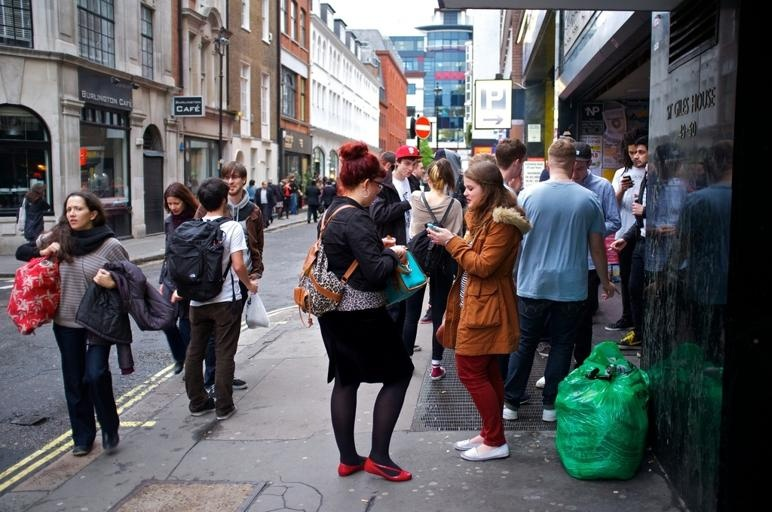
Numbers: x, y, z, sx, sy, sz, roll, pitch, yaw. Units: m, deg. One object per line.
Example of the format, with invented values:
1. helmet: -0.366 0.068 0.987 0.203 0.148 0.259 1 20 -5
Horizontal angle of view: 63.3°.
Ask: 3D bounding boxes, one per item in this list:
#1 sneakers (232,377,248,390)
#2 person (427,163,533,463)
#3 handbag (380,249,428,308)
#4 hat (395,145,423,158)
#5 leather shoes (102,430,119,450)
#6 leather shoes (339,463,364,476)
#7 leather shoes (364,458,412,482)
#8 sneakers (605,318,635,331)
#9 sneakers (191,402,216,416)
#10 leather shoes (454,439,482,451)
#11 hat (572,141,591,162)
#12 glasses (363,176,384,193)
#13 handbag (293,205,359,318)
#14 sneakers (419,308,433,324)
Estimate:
1. sneakers: -1.597 1.379 6.734 0.252 0.111 0.095 -1 3 25
2. person: 0.751 0.463 5.124 0.826 2.361 0.797 1 1 0
3. handbag: 0.150 0.161 4.699 0.277 0.384 0.178 -10 14 -35
4. hat: 0.270 -1.366 8.320 0.321 0.197 0.470 2 3 -15
5. leather shoes: -2.367 1.594 5.422 0.075 0.106 0.234 -2 6 -12
6. leather shoes: -0.277 1.655 4.926 0.229 0.088 0.082 -3 3 -36
7. leather shoes: 0.015 1.660 4.864 0.299 0.137 0.162 7 -4 7
8. sneakers: 2.987 0.889 8.067 0.374 0.166 0.134 1 0 9
9. sneakers: -1.759 1.478 6.085 0.097 0.107 0.238 6 14 34
10. leather shoes: 0.670 1.554 5.141 0.188 0.066 0.111 -3 -2 -1
11. hat: 2.207 -1.145 7.054 0.233 0.206 0.347 4 20 12
12. glasses: -0.114 -0.532 4.827 0.177 0.063 0.190 -4 7 -9
13. handbag: -0.457 0.047 4.820 0.431 0.852 0.569 4 -1 -24
14. sneakers: 0.587 0.902 9.202 0.114 0.222 0.341 -3 -6 26
